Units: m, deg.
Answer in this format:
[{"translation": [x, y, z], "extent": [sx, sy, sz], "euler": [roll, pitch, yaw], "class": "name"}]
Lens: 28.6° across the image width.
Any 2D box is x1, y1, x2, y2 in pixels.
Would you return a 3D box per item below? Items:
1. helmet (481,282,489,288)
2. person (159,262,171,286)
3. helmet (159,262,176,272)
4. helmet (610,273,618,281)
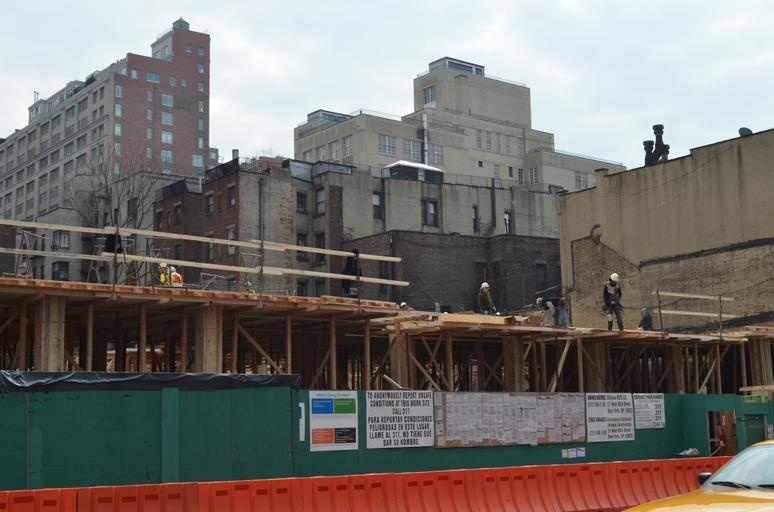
[{"translation": [5.683, 1.656, 89.402], "extent": [0.408, 0.178, 0.404], "euler": [2, -8, -40], "class": "helmet"}, {"translation": [-11.045, 0.892, 76.199], "extent": [0.522, 1.269, 0.933], "euler": [-2, -4, -23], "class": "person"}, {"translation": [-11.252, 0.524, 77.282], "extent": [0.601, 0.249, 0.429], "euler": [2, -7, 33], "class": "helmet"}, {"translation": [12.508, 1.143, 84.134], "extent": [0.381, 0.451, 0.495], "euler": [7, 14, 17], "class": "helmet"}]
